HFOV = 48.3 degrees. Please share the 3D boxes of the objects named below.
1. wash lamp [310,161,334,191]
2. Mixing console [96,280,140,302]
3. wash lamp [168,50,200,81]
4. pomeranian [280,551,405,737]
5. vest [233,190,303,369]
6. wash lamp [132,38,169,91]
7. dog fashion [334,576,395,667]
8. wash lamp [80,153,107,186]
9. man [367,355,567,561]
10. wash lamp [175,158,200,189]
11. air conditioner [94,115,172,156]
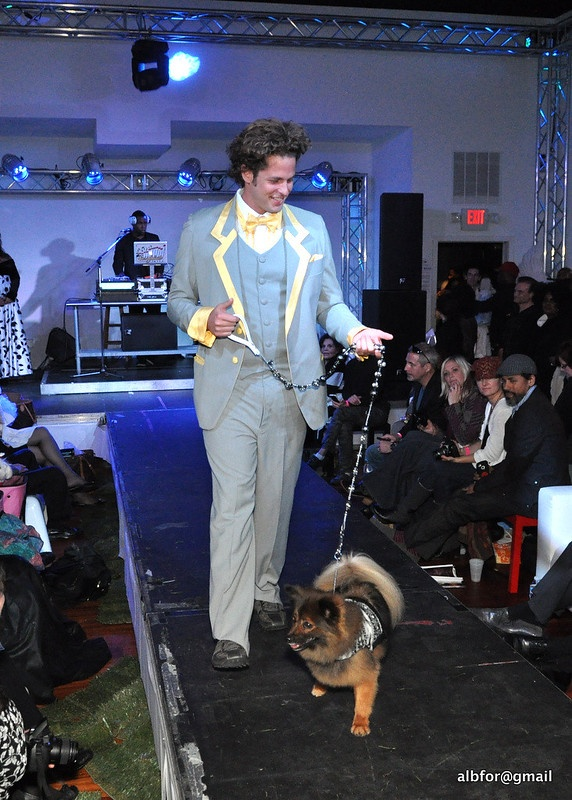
[{"bbox_3d":[0.576,-3.394,9.717,0.300,0.412,0.126,35,25,34],"label":"wash lamp"},{"bbox_3d":[-2.119,-1.362,8.051,0.336,0.207,0.443,-1,8,-8],"label":"Mixing console"},{"bbox_3d":[-1.316,-4.409,8.385,0.379,0.309,0.366,0,4,-7],"label":"wash lamp"},{"bbox_3d":[0.167,0.511,1.456,0.232,0.250,0.406,5,14,22],"label":"pomeranian"},{"bbox_3d":[-0.046,-0.289,1.649,0.195,0.532,0.210,1,5,1],"label":"vest"},{"bbox_3d":[-1.598,-3.930,7.423,0.458,0.483,0.342,5,6,39],"label":"wash lamp"},{"bbox_3d":[0.175,0.506,1.460,0.126,0.072,0.176,0,15,18],"label":"dog fashion"},{"bbox_3d":[-2.748,-3.315,9.129,0.252,0.391,0.422,-2,5,-28],"label":"wash lamp"},{"bbox_3d":[0.842,0.230,3.963,1.358,1.646,0.724,0,19,7],"label":"man"},{"bbox_3d":[-1.433,-3.365,9.411,0.271,0.178,0.490,14,44,2],"label":"wash lamp"},{"bbox_3d":[-2.129,-3.686,8.985,0.768,0.503,0.325,-4,17,-12],"label":"air conditioner"}]
